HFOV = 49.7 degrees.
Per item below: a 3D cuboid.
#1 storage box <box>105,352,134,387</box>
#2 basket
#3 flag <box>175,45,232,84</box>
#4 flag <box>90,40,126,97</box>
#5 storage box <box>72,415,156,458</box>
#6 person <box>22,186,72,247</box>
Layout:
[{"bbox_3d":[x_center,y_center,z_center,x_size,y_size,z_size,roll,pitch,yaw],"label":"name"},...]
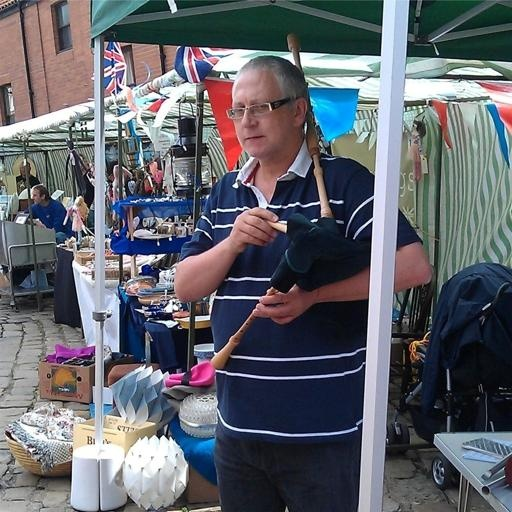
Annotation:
[{"bbox_3d":[-1.066,0.875,4.257,0.194,0.195,0.339,5,-22,-19],"label":"storage box"},{"bbox_3d":[-1.447,1.238,3.559,0.291,0.126,0.312,6,-14,13],"label":"basket"},{"bbox_3d":[-0.379,-1.316,3.755,0.283,0.297,0.091,-15,-34,-10],"label":"flag"},{"bbox_3d":[-1.334,-1.765,5.181,0.194,0.494,0.393,-2,7,-14],"label":"flag"},{"bbox_3d":[-0.882,1.085,3.424,0.419,0.190,0.360,4,8,35],"label":"storage box"},{"bbox_3d":[-3.567,-0.737,9.623,0.634,0.980,0.872,-3,7,-22],"label":"person"}]
